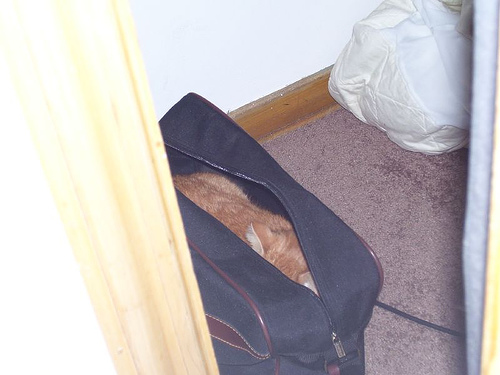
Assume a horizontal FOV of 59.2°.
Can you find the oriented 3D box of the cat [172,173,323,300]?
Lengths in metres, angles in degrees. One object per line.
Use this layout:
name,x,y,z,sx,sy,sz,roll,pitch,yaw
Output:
cat,-0.007,0.051,0.938,0.140,0.387,0.194,-45,-15,-5
